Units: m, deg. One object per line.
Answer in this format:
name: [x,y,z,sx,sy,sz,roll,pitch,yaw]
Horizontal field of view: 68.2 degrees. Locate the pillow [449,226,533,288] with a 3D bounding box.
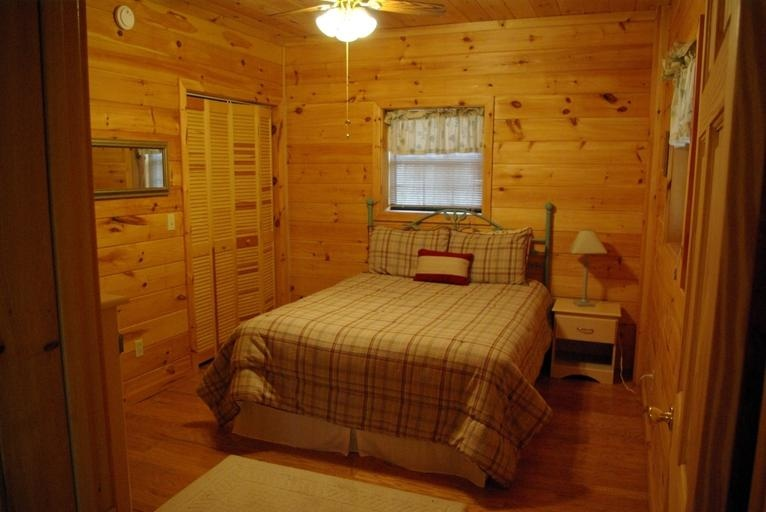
pillow: [0.920,-0.008,4.673,0.244,0.453,0.768,-11,9,-40]

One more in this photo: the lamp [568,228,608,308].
lamp: [1.626,0.084,4.478,0.260,0.589,0.380,5,14,20]

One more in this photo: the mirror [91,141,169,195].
mirror: [-1.672,-0.582,3.783,0.048,0.359,0.694,6,11,20]

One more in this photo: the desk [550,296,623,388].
desk: [1.611,0.639,4.592,0.725,0.731,0.641,2,5,20]

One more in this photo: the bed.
bed: [0.304,0.367,4.029,2.031,1.258,2.336,5,13,24]

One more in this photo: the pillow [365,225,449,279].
pillow: [0.172,-0.078,4.938,0.750,0.402,0.210,3,21,-26]
